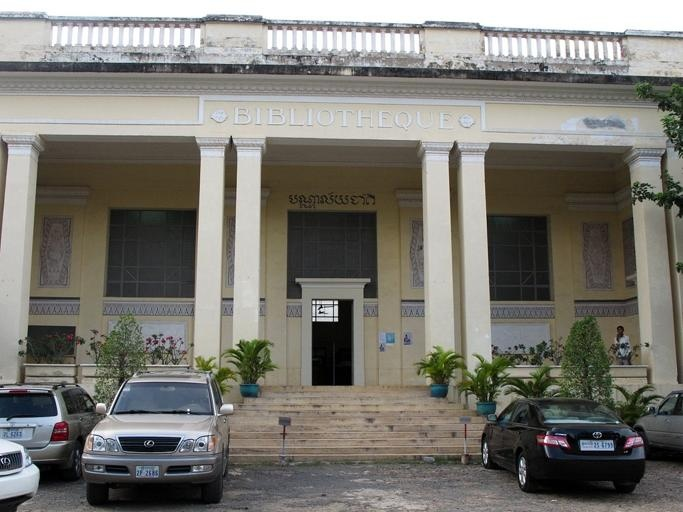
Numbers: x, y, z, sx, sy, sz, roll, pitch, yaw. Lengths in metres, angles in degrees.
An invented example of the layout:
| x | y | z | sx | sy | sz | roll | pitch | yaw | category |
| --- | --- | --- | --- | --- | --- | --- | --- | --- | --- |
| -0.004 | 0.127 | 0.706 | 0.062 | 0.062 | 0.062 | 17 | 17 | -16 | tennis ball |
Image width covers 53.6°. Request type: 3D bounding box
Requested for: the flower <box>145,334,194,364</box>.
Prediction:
| x | y | z | sx | sy | sz | roll | pitch | yaw | category |
| --- | --- | --- | --- | --- | --- | --- | --- | --- | --- |
| -5.716 | 3.031 | 21.807 | 1.342 | 0.990 | 1.366 | -1 | -8 | 15 | flower |

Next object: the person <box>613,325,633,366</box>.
| x | y | z | sx | sy | sz | roll | pitch | yaw | category |
| --- | --- | --- | --- | --- | --- | --- | --- | --- | --- |
| 8.856 | 2.815 | 21.282 | 0.406 | 1.111 | 1.060 | 1 | 1 | 19 | person |

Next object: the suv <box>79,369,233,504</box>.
| x | y | z | sx | sy | sz | roll | pitch | yaw | category |
| --- | --- | --- | --- | --- | --- | --- | --- | --- | --- |
| -3.066 | 2.869 | 11.277 | 1.477 | 1.362 | 2.973 | 0 | -19 | -4 | suv |

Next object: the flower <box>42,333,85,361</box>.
| x | y | z | sx | sy | sz | roll | pitch | yaw | category |
| --- | --- | --- | --- | --- | --- | --- | --- | --- | --- |
| -8.776 | 2.824 | 21.076 | 0.962 | 0.895 | 1.272 | -8 | -11 | 37 | flower |

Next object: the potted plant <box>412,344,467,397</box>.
| x | y | z | sx | sy | sz | roll | pitch | yaw | category |
| --- | --- | --- | --- | --- | --- | --- | --- | --- | --- |
| 2.757 | 3.234 | 19.095 | 1.374 | 1.451 | 1.412 | 0 | -15 | 3 | potted plant |

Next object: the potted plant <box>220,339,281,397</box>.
| x | y | z | sx | sy | sz | roll | pitch | yaw | category |
| --- | --- | --- | --- | --- | --- | --- | --- | --- | --- |
| -2.496 | 3.076 | 18.856 | 1.554 | 1.650 | 1.529 | 2 | -16 | -1 | potted plant |

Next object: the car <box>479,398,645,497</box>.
| x | y | z | sx | sy | sz | roll | pitch | yaw | category |
| --- | --- | --- | --- | --- | --- | --- | --- | --- | --- |
| 3.925 | 3.504 | 12.885 | 1.341 | 1.010 | 3.011 | 2 | -7 | -4 | car |

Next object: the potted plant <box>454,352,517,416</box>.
| x | y | z | sx | sy | sz | roll | pitch | yaw | category |
| --- | --- | --- | --- | --- | --- | --- | --- | --- | --- |
| 3.874 | 3.541 | 18.301 | 1.450 | 1.534 | 1.388 | 3 | -10 | -31 | potted plant |
